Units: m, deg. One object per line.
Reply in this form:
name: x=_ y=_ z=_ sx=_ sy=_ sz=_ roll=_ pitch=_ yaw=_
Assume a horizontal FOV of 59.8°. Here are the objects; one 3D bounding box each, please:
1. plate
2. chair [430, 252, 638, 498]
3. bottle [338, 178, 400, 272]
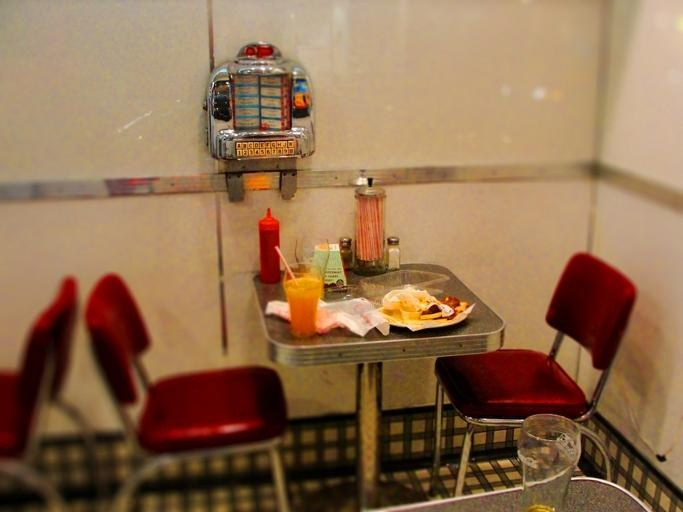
plate: x=0.284 y=0.196 z=1.904 sx=0.307 sy=0.054 sz=0.134 roll=-1 pitch=16 yaw=-3
chair: x=0.694 y=0.542 z=2.292 sx=0.663 sy=1.061 sz=0.644 roll=3 pitch=14 yaw=10
bottle: x=0.109 y=-0.124 z=2.307 sx=0.228 sy=0.353 sz=0.211 roll=0 pitch=16 yaw=0
